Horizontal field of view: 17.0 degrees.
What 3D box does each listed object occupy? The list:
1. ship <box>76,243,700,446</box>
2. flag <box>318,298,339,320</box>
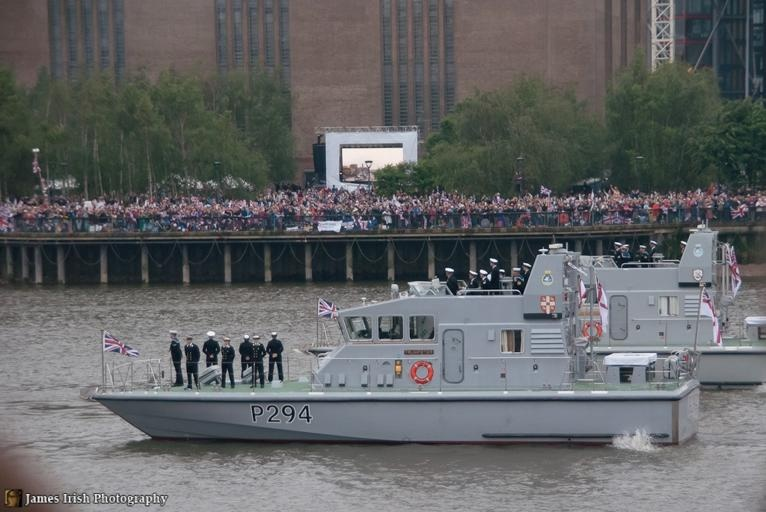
[{"bbox_3d":[0.664,8.410,211.338,48.656,16.998,13.387,-1,-1,8],"label":"ship"},{"bbox_3d":[-4.657,4.434,214.701,1.937,2.117,0.234,2,-21,-5],"label":"flag"}]
